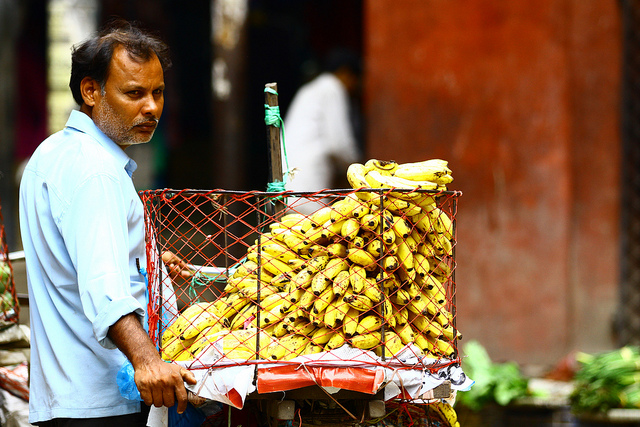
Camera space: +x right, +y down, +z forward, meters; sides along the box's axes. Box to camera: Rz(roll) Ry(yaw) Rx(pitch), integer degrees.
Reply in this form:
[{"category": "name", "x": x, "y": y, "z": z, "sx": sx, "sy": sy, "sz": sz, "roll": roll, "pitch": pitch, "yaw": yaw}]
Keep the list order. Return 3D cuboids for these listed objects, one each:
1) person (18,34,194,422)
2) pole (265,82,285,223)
[{"category": "person", "x": -1.623, "y": 0.086, "z": 7.938, "sx": 1.125, "sy": 2.762, "sz": 0.645, "roll": -2, "pitch": -4, "yaw": -10}, {"category": "pole", "x": -0.378, "y": -0.470, "z": 8.436, "sx": 0.147, "sy": 1.055, "sz": 0.146, "roll": 3, "pitch": 2, "yaw": -26}]
